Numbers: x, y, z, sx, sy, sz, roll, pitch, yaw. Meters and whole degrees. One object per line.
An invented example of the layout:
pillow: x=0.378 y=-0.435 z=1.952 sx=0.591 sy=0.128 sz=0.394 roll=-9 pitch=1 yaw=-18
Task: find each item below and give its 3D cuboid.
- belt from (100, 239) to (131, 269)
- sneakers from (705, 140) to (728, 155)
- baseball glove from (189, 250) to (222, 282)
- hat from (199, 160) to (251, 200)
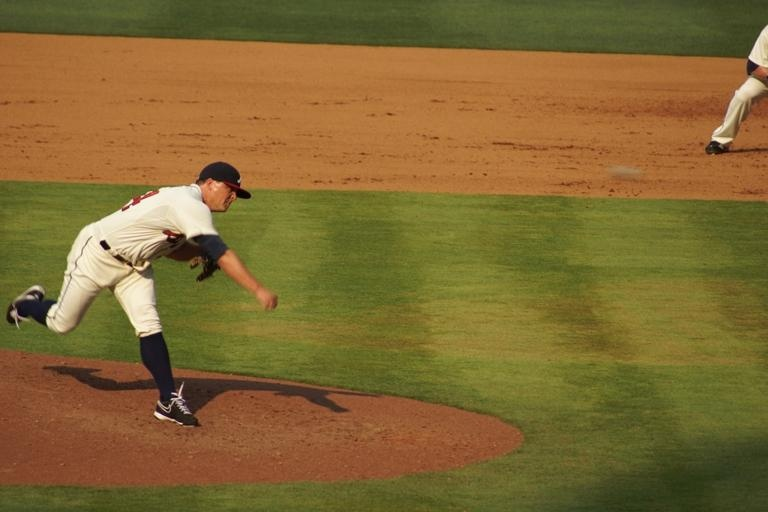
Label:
belt: x=-3.206 y=-0.031 z=19.685 sx=0.342 sy=0.250 sz=0.077 roll=34 pitch=84 yaw=-4
sneakers: x=5.536 y=-1.804 z=27.526 sx=0.490 sy=0.192 sz=0.150 roll=-3 pitch=37 yaw=-7
baseball glove: x=-2.129 y=0.127 z=20.057 sx=0.173 sy=0.474 sz=0.297 roll=-21 pitch=89 yaw=-42
hat: x=-1.830 y=-0.908 z=19.839 sx=0.667 sy=0.393 sz=0.297 roll=16 pitch=87 yaw=-12
